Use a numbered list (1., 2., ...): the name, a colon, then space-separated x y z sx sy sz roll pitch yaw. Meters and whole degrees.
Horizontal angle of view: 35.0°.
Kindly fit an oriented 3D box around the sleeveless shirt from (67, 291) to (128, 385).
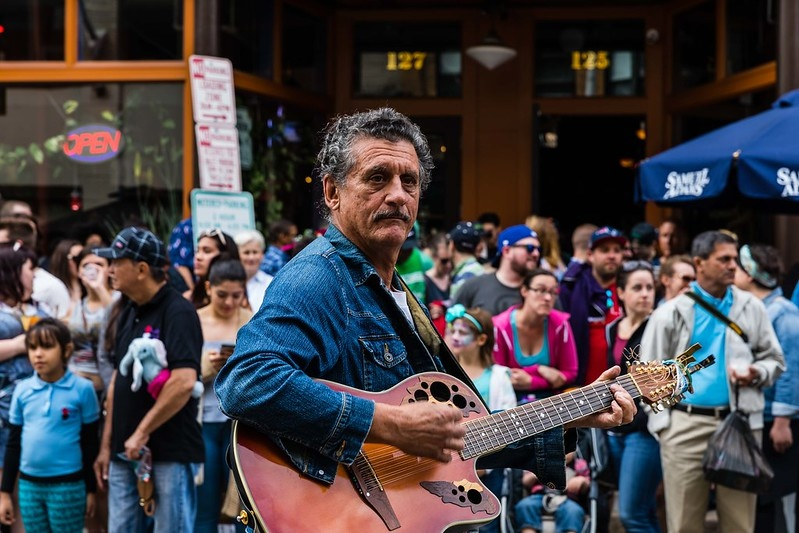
1. sleeveless shirt: -3.187 0.756 13.041 0.583 1.049 0.252 4 -10 -29

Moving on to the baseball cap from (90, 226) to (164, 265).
1. baseball cap: -2.510 -0.193 11.914 0.534 0.316 0.351 4 3 -9

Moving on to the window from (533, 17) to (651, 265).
1. window: 2.588 -1.522 17.325 1.731 4.251 0.133 1 -21 -4

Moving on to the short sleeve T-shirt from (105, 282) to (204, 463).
1. short sleeve T-shirt: -2.377 0.968 12.308 1.175 1.686 0.826 6 6 43

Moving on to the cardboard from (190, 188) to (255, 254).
1. cardboard: -1.944 -0.489 13.807 0.654 0.687 0.064 6 -7 -40

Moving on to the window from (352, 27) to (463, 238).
1. window: 0.224 -2.167 18.775 1.595 0.240 3.928 16 -26 16

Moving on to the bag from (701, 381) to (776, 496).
1. bag: 3.276 1.833 12.297 0.675 0.896 0.451 1 -30 16
